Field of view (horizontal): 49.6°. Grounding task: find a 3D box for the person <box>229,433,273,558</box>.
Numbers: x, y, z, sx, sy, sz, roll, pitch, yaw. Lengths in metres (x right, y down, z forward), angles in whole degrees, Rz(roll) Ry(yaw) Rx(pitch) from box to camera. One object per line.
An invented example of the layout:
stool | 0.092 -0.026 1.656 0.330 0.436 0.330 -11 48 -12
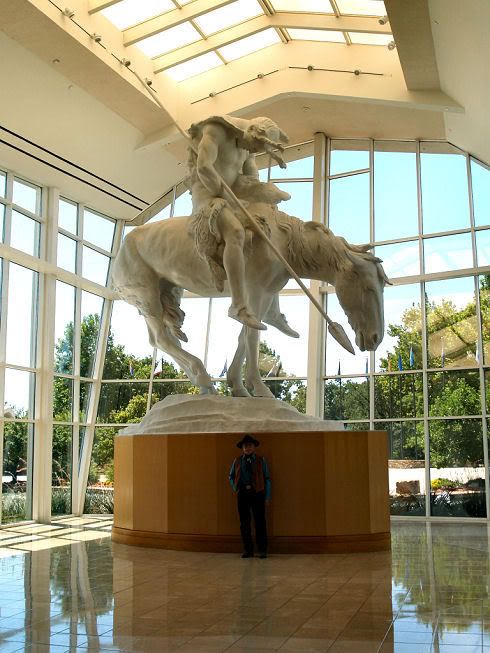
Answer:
person | 0.043 1.422 4.461 0.342 0.987 0.198 -2 -10 0

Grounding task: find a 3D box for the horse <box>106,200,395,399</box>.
horse | -0.018 -0.265 5.678 2.971 1.946 0.745 1 3 13

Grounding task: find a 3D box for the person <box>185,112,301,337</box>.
person | -0.082 -1.017 5.155 0.936 2.183 0.661 -1 -10 -6

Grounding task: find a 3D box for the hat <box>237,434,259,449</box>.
hat | 0.023 0.985 4.580 0.145 0.056 0.158 -2 -23 5
